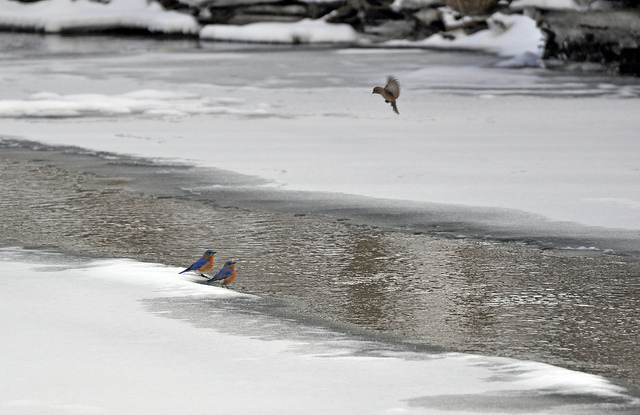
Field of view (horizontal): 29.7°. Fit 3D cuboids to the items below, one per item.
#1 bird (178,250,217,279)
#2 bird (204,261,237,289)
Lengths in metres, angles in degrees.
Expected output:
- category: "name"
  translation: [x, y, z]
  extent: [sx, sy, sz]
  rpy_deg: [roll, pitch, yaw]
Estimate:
- category: "bird"
  translation: [-1.604, 0.749, 15.784]
  extent: [0.561, 0.278, 0.236]
  rpy_deg: [-8, 1, 9]
- category: "bird"
  translation: [-1.291, 0.888, 15.610]
  extent: [0.387, 0.375, 0.393]
  rpy_deg: [0, 6, -5]
